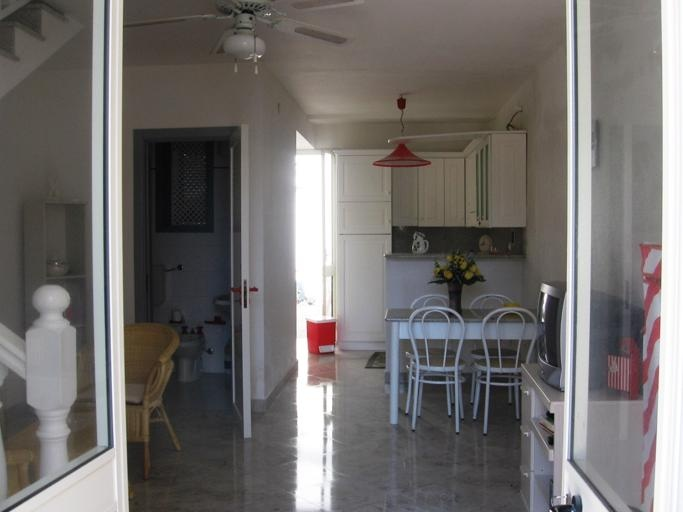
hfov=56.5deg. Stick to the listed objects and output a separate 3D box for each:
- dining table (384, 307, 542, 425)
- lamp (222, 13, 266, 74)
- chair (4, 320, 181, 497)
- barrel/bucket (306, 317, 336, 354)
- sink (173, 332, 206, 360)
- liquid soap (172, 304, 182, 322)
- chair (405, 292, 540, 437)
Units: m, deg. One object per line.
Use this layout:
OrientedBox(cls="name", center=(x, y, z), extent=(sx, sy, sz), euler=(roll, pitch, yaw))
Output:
OrientedBox(cls="dining table", center=(0.849, 0.729, 4.675), extent=(1.039, 0.831, 0.942), euler=(0, 3, 6))
OrientedBox(cls="lamp", center=(-0.464, -1.034, 3.026), extent=(0.191, 0.195, 0.139), euler=(-1, 3, -14))
OrientedBox(cls="chair", center=(-1.405, 0.851, 3.973), extent=(0.743, 0.988, 0.744), euler=(-2, -10, 6))
OrientedBox(cls="barrel/bucket", center=(-0.224, 0.880, 7.068), extent=(0.321, 0.374, 0.275), euler=(0, 3, -2))
OrientedBox(cls="sink", center=(-1.346, 0.794, 5.701), extent=(0.219, 0.234, 0.276), euler=(-1, -5, 18))
OrientedBox(cls="liquid soap", center=(-1.596, 0.565, 6.184), extent=(0.106, 0.142, 0.119), euler=(-1, 3, -15))
OrientedBox(cls="chair", center=(0.934, 0.796, 4.538), extent=(0.850, 0.979, 0.433), euler=(0, 4, 8))
